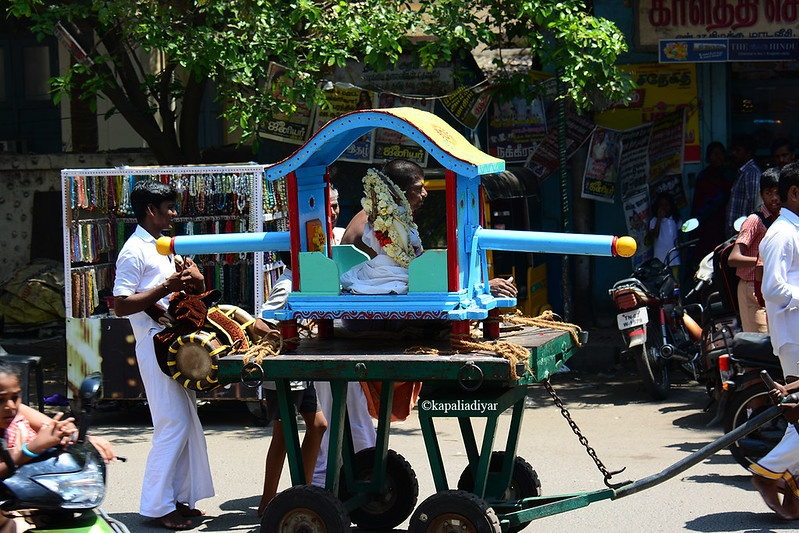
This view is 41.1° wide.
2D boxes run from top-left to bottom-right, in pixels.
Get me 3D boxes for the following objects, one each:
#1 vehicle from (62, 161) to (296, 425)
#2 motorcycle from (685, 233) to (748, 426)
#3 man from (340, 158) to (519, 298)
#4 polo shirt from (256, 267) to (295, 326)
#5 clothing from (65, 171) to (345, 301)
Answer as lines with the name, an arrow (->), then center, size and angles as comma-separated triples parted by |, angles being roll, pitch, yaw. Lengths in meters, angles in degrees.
vehicle -> -2.869, 0.096, 13.880 | 3.245, 4.138, 2.316 | -1, 2, 5
motorcycle -> 3.505, 0.692, 11.446 | 0.708, 1.230, 1.860 | -2, 11, 16
man -> 0.320, -0.330, 9.590 | 0.637, 1.863, 0.755 | -31, 28, 22
polo shirt -> -1.027, 0.272, 9.124 | 0.344, 0.466, 0.162 | 16, 3, -42
clothing -> -2.021, -0.336, 10.592 | 1.425, 1.087, 0.800 | 0, 5, -2
